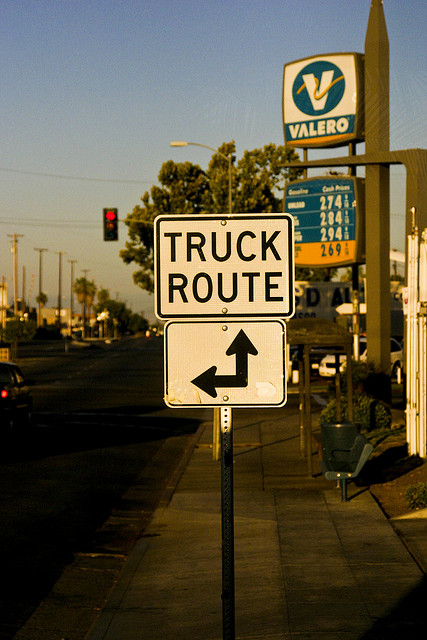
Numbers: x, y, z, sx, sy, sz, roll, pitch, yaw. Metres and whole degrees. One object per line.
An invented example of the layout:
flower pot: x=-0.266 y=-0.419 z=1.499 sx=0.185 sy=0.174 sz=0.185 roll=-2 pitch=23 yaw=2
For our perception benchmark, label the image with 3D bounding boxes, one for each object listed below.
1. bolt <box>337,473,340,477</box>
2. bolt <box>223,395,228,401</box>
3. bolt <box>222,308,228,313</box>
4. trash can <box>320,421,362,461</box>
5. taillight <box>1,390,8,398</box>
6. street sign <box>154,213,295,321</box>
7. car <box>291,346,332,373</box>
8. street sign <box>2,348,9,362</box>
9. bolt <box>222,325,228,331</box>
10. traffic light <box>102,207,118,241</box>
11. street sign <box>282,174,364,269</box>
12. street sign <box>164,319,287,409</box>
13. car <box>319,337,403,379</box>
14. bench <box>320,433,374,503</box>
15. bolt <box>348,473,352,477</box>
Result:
bolt: x=1.439 y=1.792 z=10.778 sx=0.032 sy=0.040 sz=0.009 roll=-5 pitch=-3 yaw=4
bolt: x=0.065 y=0.418 z=4.980 sx=0.025 sy=0.031 sz=0.007 roll=3 pitch=-6 yaw=19
bolt: x=0.062 y=-0.048 z=5.012 sx=0.024 sy=0.025 sz=0.003 roll=4 pitch=-6 yaw=12
trash can: x=1.557 y=1.433 z=11.550 sx=0.408 sy=0.514 sz=0.434 roll=-3 pitch=3 yaw=-7
taillight: x=-3.698 y=1.335 z=16.651 sx=0.098 sy=0.136 sz=0.097 roll=-9 pitch=9 yaw=-41
street sign: x=0.061 y=-0.283 z=5.072 sx=0.759 sy=0.697 sz=0.040 roll=-1 pitch=-29 yaw=-1
car: x=3.626 y=1.260 z=36.030 sx=1.218 sy=1.384 sz=2.472 roll=0 pitch=-8 yaw=-1
street sign: x=-10.434 y=1.760 z=47.152 sx=0.328 sy=0.603 sz=0.606 roll=6 pitch=-7 yaw=-13
bolt: x=0.062 y=0.048 z=4.998 sx=0.022 sy=0.027 sz=0.015 roll=-14 pitch=-3 yaw=8
traffic light: x=-2.805 y=-2.600 z=25.761 sx=0.434 sy=1.066 sz=0.857 roll=5 pitch=-7 yaw=-7
street sign: x=2.392 y=-2.076 z=19.914 sx=1.778 sy=1.799 sz=0.749 roll=0 pitch=-8 yaw=40
street sign: x=0.061 y=0.234 z=5.008 sx=0.676 sy=0.524 sz=0.223 roll=5 pitch=-6 yaw=3
car: x=4.958 y=1.605 z=31.810 sx=2.937 sy=1.783 sz=1.917 roll=-2 pitch=1 yaw=9
bench: x=1.594 y=1.812 z=11.419 sx=0.560 sy=0.750 sz=1.289 roll=2 pitch=-2 yaw=0
bolt: x=1.564 y=1.785 z=10.744 sx=0.032 sy=0.062 sz=0.010 roll=1 pitch=-12 yaw=1
